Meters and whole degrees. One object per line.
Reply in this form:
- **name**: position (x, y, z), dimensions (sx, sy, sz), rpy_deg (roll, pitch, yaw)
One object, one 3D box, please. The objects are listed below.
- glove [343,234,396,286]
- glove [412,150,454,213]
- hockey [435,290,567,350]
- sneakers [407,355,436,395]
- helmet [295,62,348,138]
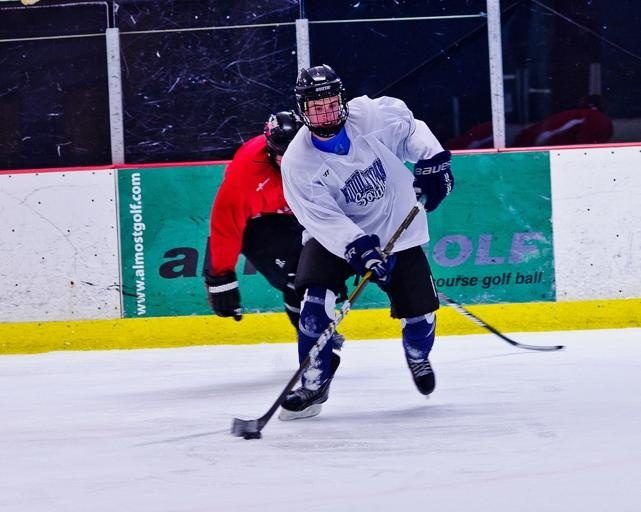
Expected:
- **glove**: position (0.261, 0.017, 4.838), dimensions (0.227, 0.247, 0.210), rpy_deg (1, 6, 18)
- **glove**: position (0.561, -0.367, 4.906), dimensions (0.265, 0.271, 0.083), rpy_deg (2, 27, 17)
- **hockey**: position (1.096, 0.351, 5.905), dimensions (0.685, 0.363, 0.906), rpy_deg (1, 5, 11)
- **sneakers**: position (0.513, 0.598, 5.033), dimensions (0.109, 0.184, 0.062), rpy_deg (-22, 0, 1)
- **helmet**: position (0.013, -0.749, 4.859), dimensions (0.247, 0.351, 0.110), rpy_deg (-1, 6, 0)
